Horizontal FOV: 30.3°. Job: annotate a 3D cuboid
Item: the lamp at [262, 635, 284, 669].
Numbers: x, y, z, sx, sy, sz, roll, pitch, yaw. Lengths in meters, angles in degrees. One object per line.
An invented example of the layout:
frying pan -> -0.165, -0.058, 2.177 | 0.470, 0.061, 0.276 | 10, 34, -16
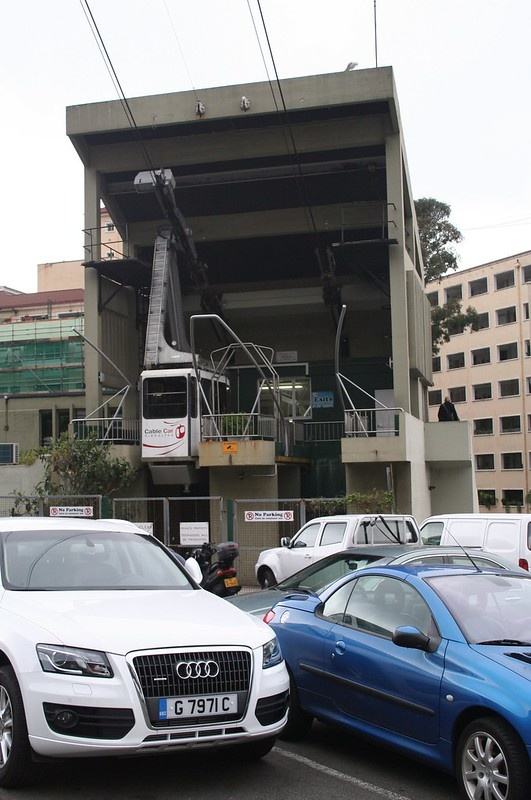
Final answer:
lamp -> 0.042, 1.507, 5.843 | 0.104, 0.059, 0.149 | -19, -23, -22

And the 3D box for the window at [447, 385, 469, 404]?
window -> 13.259, -0.395, 66.927 | 0.774, 1.202, 1.099 | 4, -6, -40

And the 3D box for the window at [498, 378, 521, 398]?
window -> 16.283, -0.463, 65.202 | 0.862, 1.331, 1.699 | 3, -6, -29

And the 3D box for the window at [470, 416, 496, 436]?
window -> 14.880, 1.844, 66.996 | 0.897, 1.394, 1.771 | 0, -5, 11

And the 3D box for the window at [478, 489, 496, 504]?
window -> 14.623, 6.418, 64.284 | 1.148, 1.305, 1.180 | -6, -7, 42

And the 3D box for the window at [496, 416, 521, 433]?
window -> 16.086, 1.589, 64.271 | 0.834, 1.272, 1.636 | 3, -6, -28

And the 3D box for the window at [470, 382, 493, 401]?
window -> 15.068, -0.565, 67.785 | 0.849, 1.329, 1.695 | 1, -5, -34

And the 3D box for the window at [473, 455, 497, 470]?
window -> 14.891, 4.195, 65.982 | 0.887, 1.349, 1.724 | 4, -7, -31

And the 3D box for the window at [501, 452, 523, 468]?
window -> 16.065, 3.957, 63.596 | 1.446, 1.149, 0.768 | -4, -7, 42

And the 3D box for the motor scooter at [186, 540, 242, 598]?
motor scooter -> -0.717, 2.544, 14.741 | 0.587, 1.215, 1.615 | 1, -5, -19

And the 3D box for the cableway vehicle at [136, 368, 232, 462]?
cableway vehicle -> -1.926, 0.367, 24.380 | 1.643, 3.106, 3.289 | -2, -4, 17
